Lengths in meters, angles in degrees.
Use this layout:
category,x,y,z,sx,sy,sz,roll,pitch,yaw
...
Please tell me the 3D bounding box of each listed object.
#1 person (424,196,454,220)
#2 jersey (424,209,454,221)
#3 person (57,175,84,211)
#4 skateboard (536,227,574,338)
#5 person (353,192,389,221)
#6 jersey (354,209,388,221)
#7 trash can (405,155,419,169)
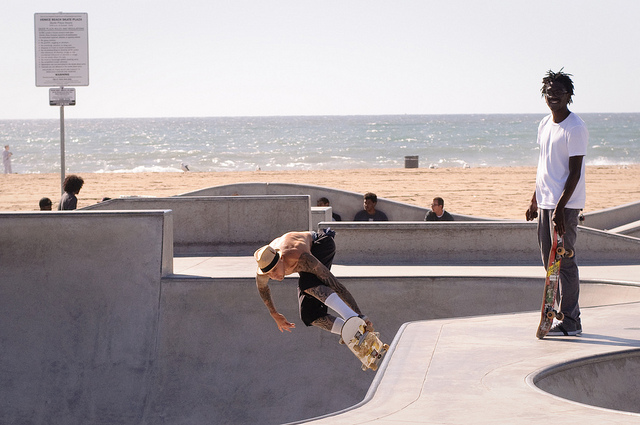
category,x,y,z,sx,sy,sz,roll,pitch,yaw
person,2.437,-0.046,24.362,0.422,0.557,0.895,1,-1,-35
jersey,2.517,0.051,24.312,0.589,0.264,0.512,-1,6,6
person,-4.984,-0.416,22.964,0.460,0.681,0.524,-2,6,1
skateboard,3.797,1.175,18.908,0.337,1.955,0.466,4,7,3
person,1.098,-0.108,24.837,0.893,0.661,0.431,2,11,32
jersey,1.083,0.084,24.852,0.513,0.343,0.256,-3,-13,7
trash can,3.852,-2.146,48.199,0.540,0.516,0.527,0,2,23
